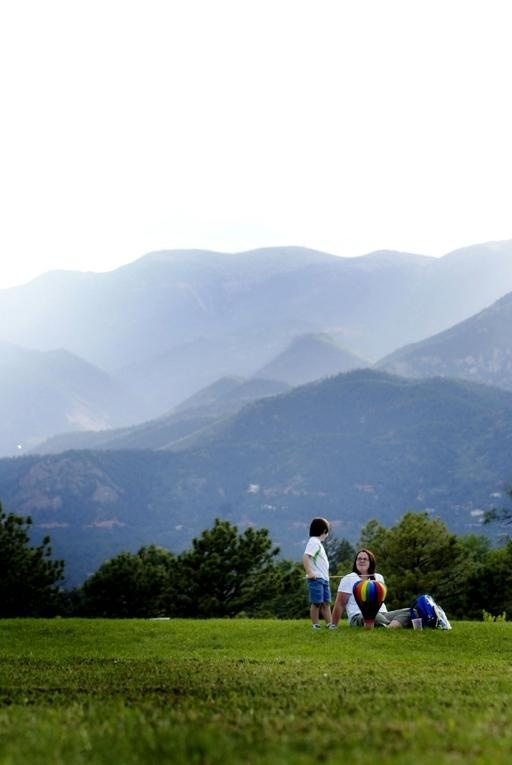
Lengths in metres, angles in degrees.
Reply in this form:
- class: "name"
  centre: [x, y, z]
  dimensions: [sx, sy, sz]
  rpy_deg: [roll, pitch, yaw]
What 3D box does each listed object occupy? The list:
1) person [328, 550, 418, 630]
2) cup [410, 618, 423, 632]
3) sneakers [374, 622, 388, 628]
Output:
- class: "person"
  centre: [1.947, 3.522, 18.376]
  dimensions: [1.390, 1.390, 1.174]
  rpy_deg: [-6, -23, 14]
- class: "cup"
  centre: [2.660, 4.017, 17.777]
  dimensions: [0.171, 0.190, 0.148]
  rpy_deg: [-1, 1, 29]
- class: "sneakers"
  centre: [2.070, 4.006, 17.796]
  dimensions: [0.238, 0.155, 0.591]
  rpy_deg: [-5, -15, 5]
